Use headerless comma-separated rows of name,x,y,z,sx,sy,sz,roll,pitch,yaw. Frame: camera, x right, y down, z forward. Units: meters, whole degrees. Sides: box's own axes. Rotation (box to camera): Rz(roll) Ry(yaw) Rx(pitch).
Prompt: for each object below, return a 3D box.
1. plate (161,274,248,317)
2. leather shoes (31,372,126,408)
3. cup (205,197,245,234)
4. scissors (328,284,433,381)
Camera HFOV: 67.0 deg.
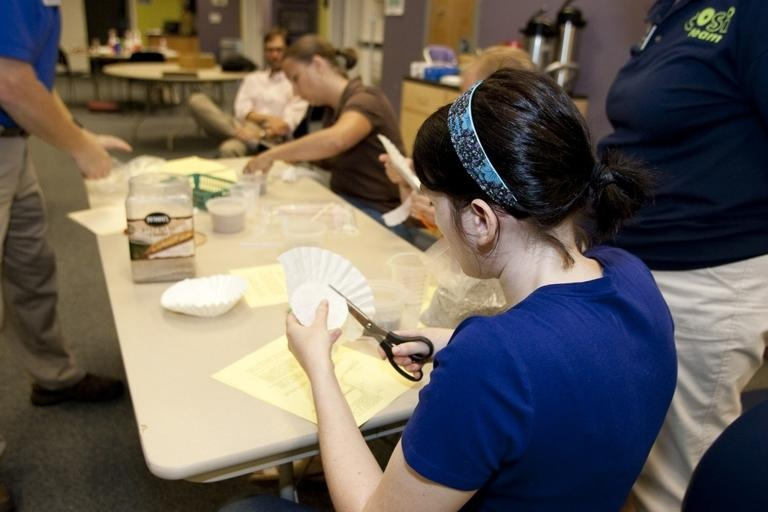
plate,-0.481,0.103,1.553,0.132,0.048,0.139,-18,24,-27
leather shoes,-1.159,0.520,2.281,0.363,0.147,0.123,-3,15,-20
cup,-0.534,-0.137,1.971,0.125,0.082,0.125,-1,15,0
scissors,-0.020,0.189,1.403,0.210,0.092,0.018,37,23,23
